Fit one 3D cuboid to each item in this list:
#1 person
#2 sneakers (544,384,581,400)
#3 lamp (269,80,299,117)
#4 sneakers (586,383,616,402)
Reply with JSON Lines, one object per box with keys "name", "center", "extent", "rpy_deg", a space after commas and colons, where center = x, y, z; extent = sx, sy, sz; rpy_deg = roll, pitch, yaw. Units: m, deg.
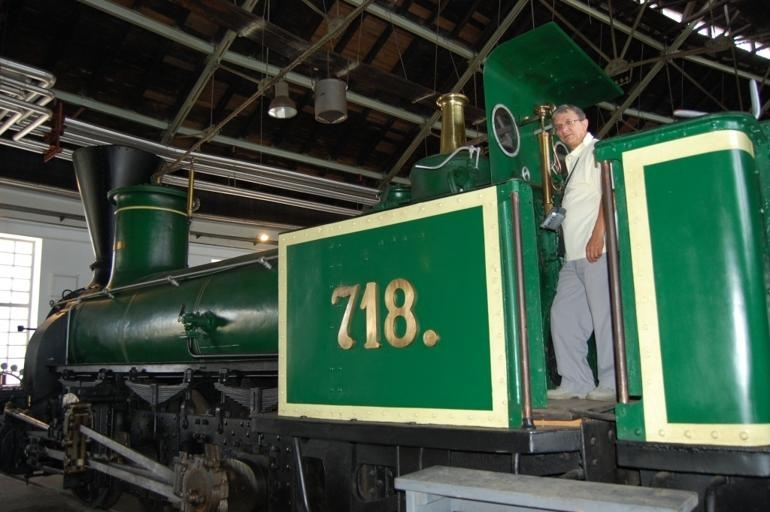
{"name": "person", "center": [1.504, -0.071, 4.800], "extent": [0.334, 2.273, 0.592], "rpy_deg": [9, -17, -38]}
{"name": "sneakers", "center": [1.323, 1.007, 4.703], "extent": [0.255, 0.108, 0.095], "rpy_deg": [3, -9, 3]}
{"name": "lamp", "center": [-1.900, -2.899, 11.690], "extent": [0.519, 0.568, 0.530], "rpy_deg": [21, 40, 23]}
{"name": "sneakers", "center": [1.566, 1.000, 4.551], "extent": [0.088, 0.094, 0.226], "rpy_deg": [-11, -17, 44]}
